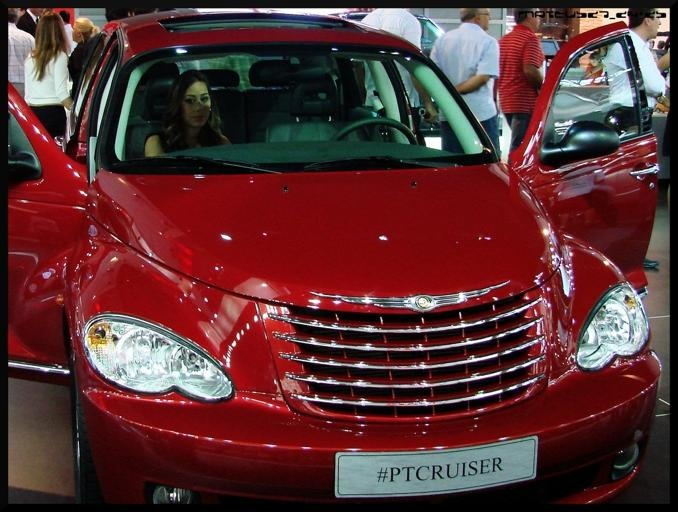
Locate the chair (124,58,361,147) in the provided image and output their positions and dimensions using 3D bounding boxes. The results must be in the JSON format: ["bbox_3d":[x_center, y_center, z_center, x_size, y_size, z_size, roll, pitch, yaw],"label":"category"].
[{"bbox_3d":[-0.551,-0.865,3.047,1.037,0.633,0.470,-3,3,-12],"label":"chair"}]
